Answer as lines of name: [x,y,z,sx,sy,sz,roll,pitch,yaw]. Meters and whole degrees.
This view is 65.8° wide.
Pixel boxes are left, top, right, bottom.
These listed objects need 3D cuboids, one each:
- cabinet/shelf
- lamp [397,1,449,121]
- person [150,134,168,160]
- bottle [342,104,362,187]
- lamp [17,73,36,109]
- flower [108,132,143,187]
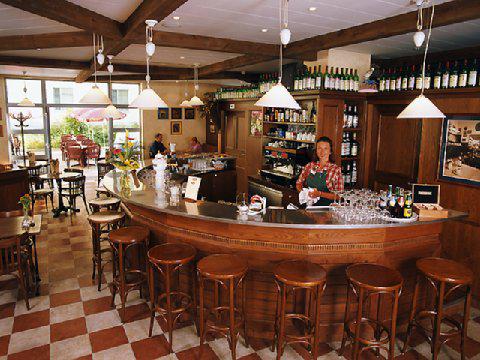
cabinet/shelf: [1.292,-0.536,6.611,1.080,2.234,2.636,-1,5,-25]
lamp: [2.648,-1.533,5.311,0.636,1.363,3.139,2,9,23]
person: [-2.516,-0.927,11.574,0.600,0.899,0.596,-9,15,-44]
bottle: [2.055,-0.621,6.938,0.426,1.607,0.231,-8,11,-32]
lamp: [-6.612,-2.722,11.336,0.455,0.958,2.014,-7,10,-28]
flower: [-1.990,-0.344,6.390,0.535,0.854,1.423,-5,9,-19]
